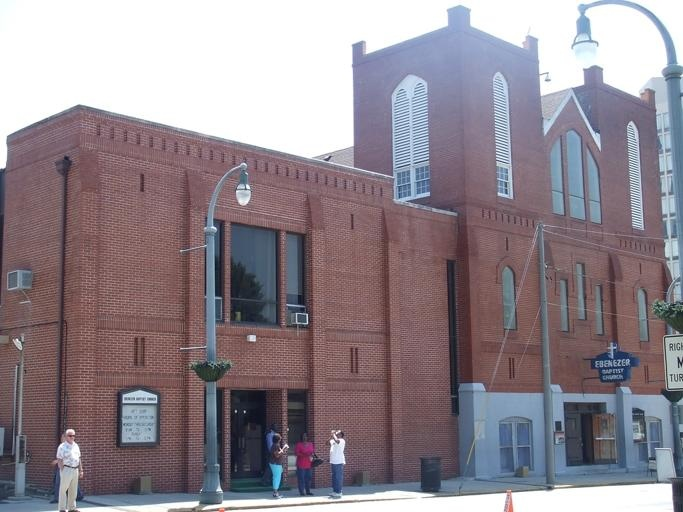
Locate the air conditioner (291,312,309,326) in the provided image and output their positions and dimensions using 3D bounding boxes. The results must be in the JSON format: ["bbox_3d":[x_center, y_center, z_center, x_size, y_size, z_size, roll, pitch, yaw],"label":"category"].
[{"bbox_3d":[-1.710,2.478,35.345,0.461,0.609,0.847,-8,-9,42],"label":"air conditioner"}]

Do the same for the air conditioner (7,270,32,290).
[{"bbox_3d":[-11.354,0.856,31.763,0.604,0.509,0.325,-13,-19,39],"label":"air conditioner"}]

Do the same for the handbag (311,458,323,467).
[{"bbox_3d":[-0.890,7.352,32.093,0.370,0.337,0.262,21,-61,-40],"label":"handbag"}]

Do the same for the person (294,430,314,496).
[{"bbox_3d":[-1.330,7.431,32.200,0.615,2.110,1.461,-1,-18,-4],"label":"person"}]

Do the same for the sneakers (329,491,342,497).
[{"bbox_3d":[-0.273,8.326,31.677,0.474,0.198,0.190,0,-12,22],"label":"sneakers"}]
